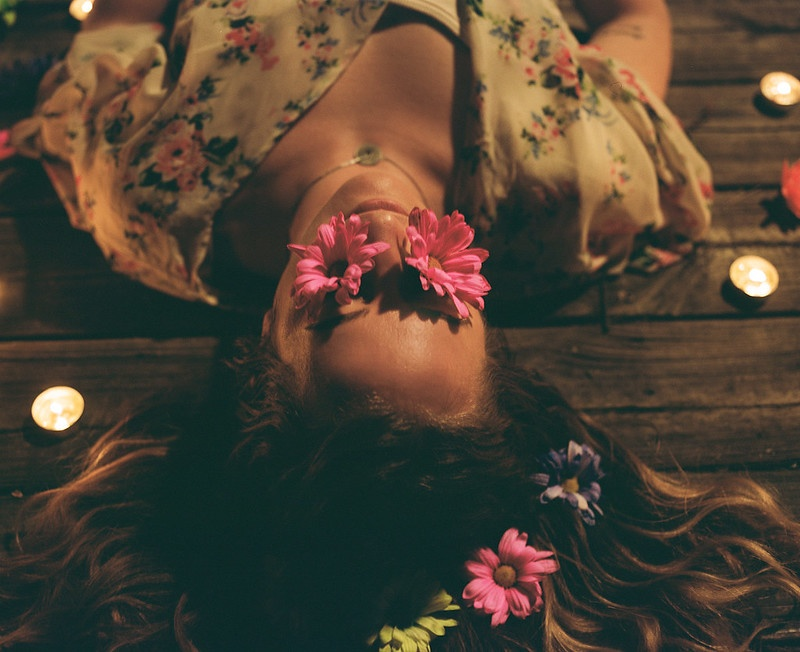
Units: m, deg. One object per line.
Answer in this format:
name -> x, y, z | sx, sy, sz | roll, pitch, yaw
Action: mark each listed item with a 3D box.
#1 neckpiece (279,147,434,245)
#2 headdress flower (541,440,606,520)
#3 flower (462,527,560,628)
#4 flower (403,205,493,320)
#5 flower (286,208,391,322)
neckpiece -> -0.067, -0.240, 2.243 | 0.204, 0.233, 0.067 | 5, 0, 0
headdress flower -> 0.345, 0.314, 2.152 | 0.137, 0.151, 0.084 | 0, 18, 4
flower -> 0.210, 0.485, 2.052 | 0.176, 0.147, 0.091 | -1, 18, 1
flower -> 0.064, -0.125, 1.992 | 0.159, 0.164, 0.067 | 38, 39, -5
flower -> -0.118, -0.116, 1.976 | 0.170, 0.203, 0.069 | -26, -26, 22
